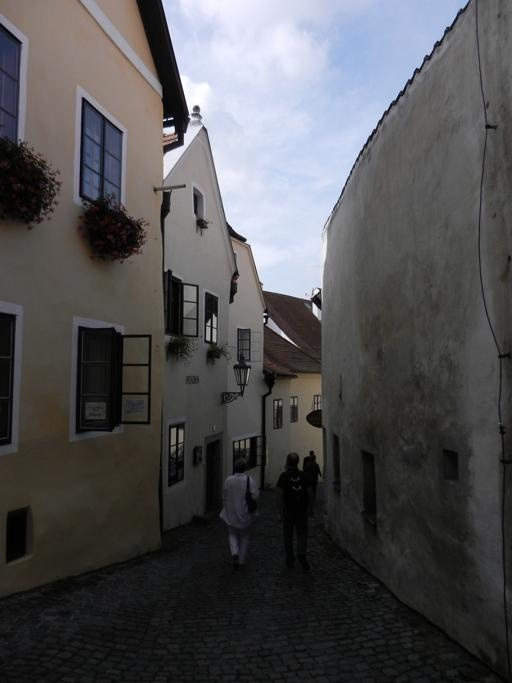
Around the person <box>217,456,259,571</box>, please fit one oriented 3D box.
[{"bbox_3d":[-0.241,2.279,7.786,0.395,1.647,0.583,1,21,-1],"label":"person"}]

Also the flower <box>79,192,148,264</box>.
[{"bbox_3d":[-1.686,-1.367,6.772,0.464,0.835,0.859,-1,-10,11],"label":"flower"}]

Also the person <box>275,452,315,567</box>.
[{"bbox_3d":[0.461,2.158,7.248,0.374,1.423,0.502,0,-8,3],"label":"person"}]

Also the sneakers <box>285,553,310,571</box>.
[{"bbox_3d":[0.525,2.761,7.232,0.128,0.278,0.495,1,-14,-24],"label":"sneakers"}]

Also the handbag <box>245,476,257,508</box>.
[{"bbox_3d":[-0.030,2.055,7.762,0.219,0.367,0.177,-10,8,-10],"label":"handbag"}]
